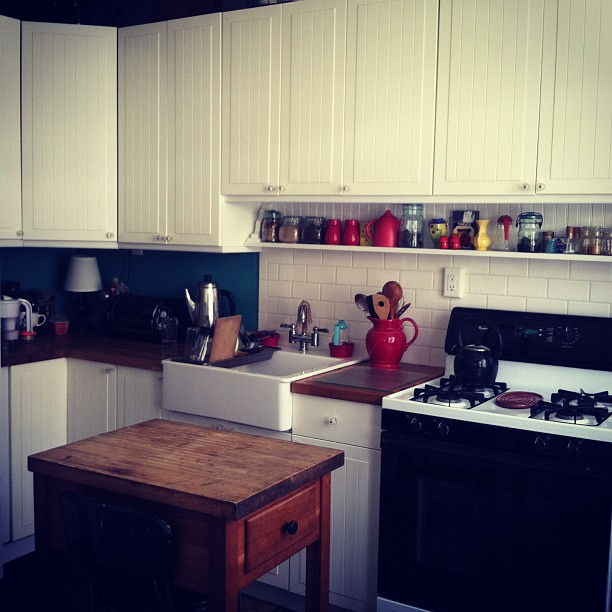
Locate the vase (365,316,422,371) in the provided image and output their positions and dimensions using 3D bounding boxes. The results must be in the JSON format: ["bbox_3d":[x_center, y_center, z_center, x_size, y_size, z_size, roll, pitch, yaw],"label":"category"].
[{"bbox_3d":[0.378,0.161,2.642,0.219,0.234,0.174,2,5,19],"label":"vase"}]

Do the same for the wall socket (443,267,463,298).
[{"bbox_3d":[0.651,-0.107,2.631,0.117,0.186,0.023,3,4,37],"label":"wall socket"}]

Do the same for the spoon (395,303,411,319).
[{"bbox_3d":[0.433,0.022,2.672,0.022,0.082,0.018,48,26,25],"label":"spoon"}]

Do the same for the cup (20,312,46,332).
[{"bbox_3d":[-1.504,0.080,3.250,0.059,0.071,0.095,-4,-7,41],"label":"cup"}]

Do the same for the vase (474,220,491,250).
[{"bbox_3d":[0.731,-0.294,2.458,0.073,0.120,0.071,1,7,7],"label":"vase"}]

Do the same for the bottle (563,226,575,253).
[{"bbox_3d":[1.014,-0.255,2.289,0.041,0.097,0.064,3,8,25],"label":"bottle"}]

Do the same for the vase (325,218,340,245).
[{"bbox_3d":[0.122,-0.346,2.785,0.090,0.140,0.093,-4,7,-22],"label":"vase"}]

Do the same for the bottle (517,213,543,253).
[{"bbox_3d":[0.884,-0.290,2.346,0.095,0.152,0.112,2,8,19],"label":"bottle"}]

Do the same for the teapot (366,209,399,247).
[{"bbox_3d":[0.347,-0.337,2.632,0.154,0.153,0.124,2,9,17],"label":"teapot"}]

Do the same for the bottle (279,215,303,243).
[{"bbox_3d":[-0.079,-0.378,2.919,0.118,0.125,0.125,4,4,22],"label":"bottle"}]

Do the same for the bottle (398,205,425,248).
[{"bbox_3d":[0.474,-0.350,2.624,0.134,0.180,0.105,-1,7,-8],"label":"bottle"}]

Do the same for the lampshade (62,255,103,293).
[{"bbox_3d":[-1.320,-0.206,3.575,0.198,0.229,0.208,14,20,40],"label":"lampshade"}]

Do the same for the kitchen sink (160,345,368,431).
[{"bbox_3d":[-0.194,0.306,2.905,0.819,0.289,0.885,3,4,29],"label":"kitchen sink"}]

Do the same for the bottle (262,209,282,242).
[{"bbox_3d":[-0.177,-0.407,3.027,0.094,0.155,0.098,0,7,0],"label":"bottle"}]

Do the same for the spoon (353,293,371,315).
[{"bbox_3d":[0.257,-0.017,2.703,0.022,0.095,0.054,-22,-7,-38],"label":"spoon"}]
